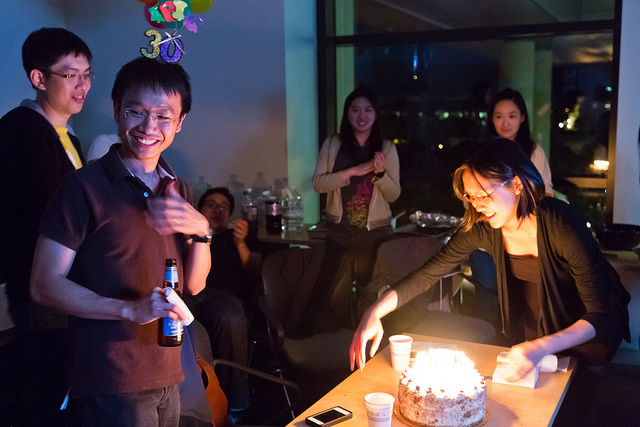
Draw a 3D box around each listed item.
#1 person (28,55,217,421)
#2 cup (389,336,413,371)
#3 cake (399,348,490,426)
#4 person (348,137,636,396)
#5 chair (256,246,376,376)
[{"bbox_3d":[-0.652,0.154,1.791,0.464,1.440,0.587,5,11,25],"label":"person"},{"bbox_3d":[0.374,0.654,2.263,0.126,0.131,0.123,1,-1,0],"label":"cup"},{"bbox_3d":[0.502,0.685,1.974,0.274,0.163,0.276,-1,3,1],"label":"cake"},{"bbox_3d":[0.869,0.184,3.095,1.570,2.083,1.078,-9,9,-18],"label":"person"},{"bbox_3d":[-0.056,0.631,3.537,0.869,1.004,0.853,-3,4,-20],"label":"chair"}]
